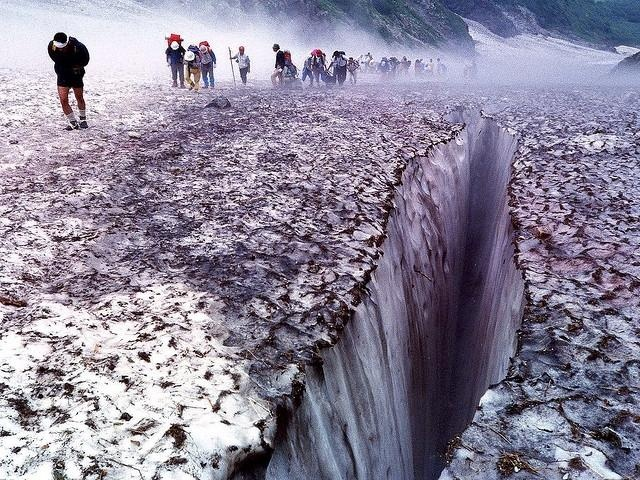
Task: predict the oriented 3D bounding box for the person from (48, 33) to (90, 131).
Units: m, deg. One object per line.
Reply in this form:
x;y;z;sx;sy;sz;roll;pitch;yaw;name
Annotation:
-3.384;-2.137;6.008;0.367;1.234;0.451;20;30;33;person

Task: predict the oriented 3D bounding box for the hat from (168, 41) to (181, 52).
-3.682;-4.888;11.078;0.273;0.231;0.248;0;39;-26;hat

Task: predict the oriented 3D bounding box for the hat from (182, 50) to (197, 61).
-3.121;-4.386;10.514;0.255;0.210;0.250;-6;25;-17;hat
